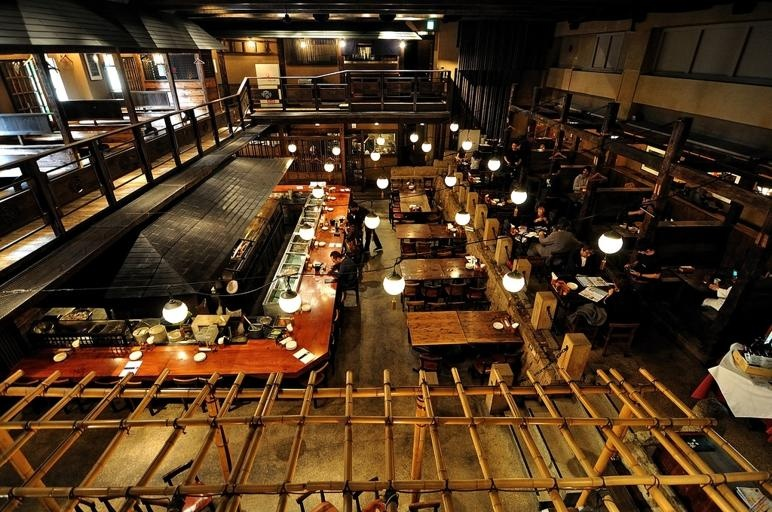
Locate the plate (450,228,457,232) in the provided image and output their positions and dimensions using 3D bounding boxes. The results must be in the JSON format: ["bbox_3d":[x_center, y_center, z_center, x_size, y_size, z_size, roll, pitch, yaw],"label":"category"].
[{"bbox_3d":[2.584,-0.957,16.731,0.279,0.055,0.151,-3,24,-8],"label":"plate"}]

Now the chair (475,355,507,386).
[{"bbox_3d":[2.805,3.137,12.501,0.899,1.183,0.802,3,52,5],"label":"chair"}]

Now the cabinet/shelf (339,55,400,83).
[{"bbox_3d":[-0.878,-8.851,20.915,2.812,1.035,3.717,2,24,4],"label":"cabinet/shelf"}]

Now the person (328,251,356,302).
[{"bbox_3d":[-1.462,0.684,14.242,1.038,1.683,0.786,7,47,4],"label":"person"}]

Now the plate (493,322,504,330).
[{"bbox_3d":[3.195,1.959,12.466,0.297,0.111,0.285,4,24,7],"label":"plate"}]

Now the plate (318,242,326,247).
[{"bbox_3d":[-2.311,-0.422,15.996,0.309,0.074,0.360,-4,24,-11],"label":"plate"}]

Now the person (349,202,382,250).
[{"bbox_3d":[-0.825,-1.084,17.396,1.369,0.846,2.338,4,-11,1],"label":"person"}]

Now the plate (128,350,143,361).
[{"bbox_3d":[-6.611,2.614,11.616,0.260,0.055,0.247,-21,39,-33],"label":"plate"}]

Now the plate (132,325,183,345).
[{"bbox_3d":[-6.206,2.176,12.029,0.992,0.223,0.637,-2,26,-12],"label":"plate"}]

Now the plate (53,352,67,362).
[{"bbox_3d":[-8.527,2.634,11.553,0.314,0.160,0.301,-4,25,-9],"label":"plate"}]

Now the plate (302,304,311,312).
[{"bbox_3d":[-2.360,1.536,13.039,0.263,0.081,0.286,-3,24,-8],"label":"plate"}]

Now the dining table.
[{"bbox_3d":[2.124,2.256,12.640,2.970,0.882,1.256,0,25,0],"label":"dining table"}]
